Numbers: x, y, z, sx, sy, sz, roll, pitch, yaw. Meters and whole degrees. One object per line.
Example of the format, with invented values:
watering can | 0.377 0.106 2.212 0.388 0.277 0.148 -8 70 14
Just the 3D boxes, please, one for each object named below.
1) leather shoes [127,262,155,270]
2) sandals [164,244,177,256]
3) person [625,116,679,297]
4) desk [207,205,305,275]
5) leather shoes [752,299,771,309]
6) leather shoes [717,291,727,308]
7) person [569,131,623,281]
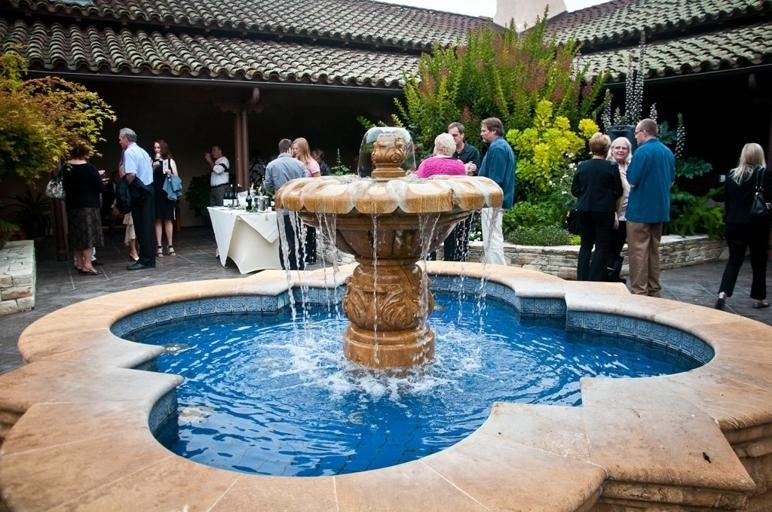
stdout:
leather shoes | -4.487 0.191 9.465 0.508 0.199 0.204 4 0 -19
sandals | -4.612 -0.100 11.047 0.147 0.182 0.447 -5 -2 -32
person | 3.399 -0.604 6.719 0.521 2.326 0.637 5 13 28
desk | -2.570 -0.340 9.842 1.160 1.020 2.002 -1 9 -35
leather shoes | 5.124 0.655 7.012 0.303 0.131 0.113 -5 6 -25
leather shoes | 4.521 0.588 6.926 0.063 0.211 0.088 1 -16 21
person | 2.811 -0.624 6.925 0.627 2.004 0.536 5 13 28
